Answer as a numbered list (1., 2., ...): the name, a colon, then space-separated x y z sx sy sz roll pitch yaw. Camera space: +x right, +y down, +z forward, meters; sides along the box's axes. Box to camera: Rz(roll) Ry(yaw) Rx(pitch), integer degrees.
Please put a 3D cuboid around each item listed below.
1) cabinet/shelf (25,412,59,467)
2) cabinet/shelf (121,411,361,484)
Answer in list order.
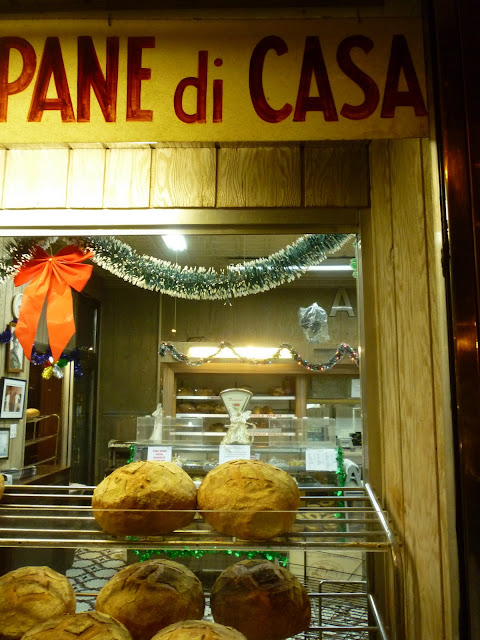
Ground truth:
1. cabinet/shelf: -1.560 0.849 4.030 0.360 0.312 0.120 5 11 11
2. cabinet/shelf: 0.076 0.506 2.529 0.962 0.345 0.284 -3 23 14
